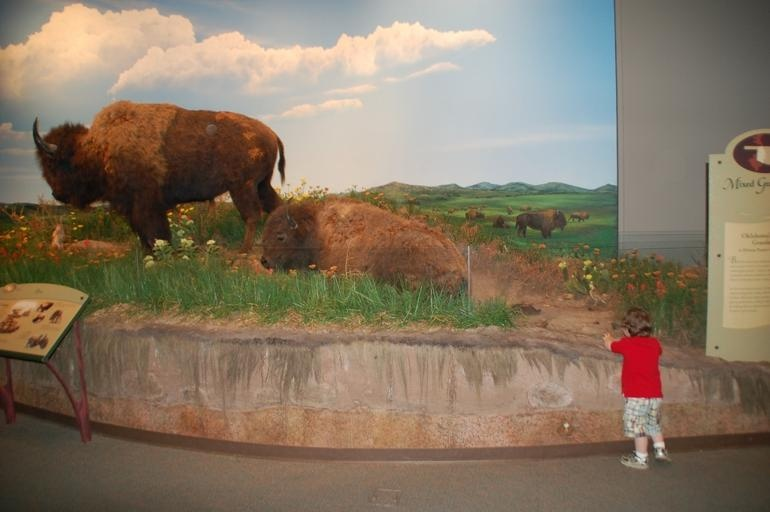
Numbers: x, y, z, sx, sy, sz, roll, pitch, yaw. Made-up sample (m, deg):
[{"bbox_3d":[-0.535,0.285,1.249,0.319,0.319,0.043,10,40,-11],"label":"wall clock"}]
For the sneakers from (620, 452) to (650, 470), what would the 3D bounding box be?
[{"bbox_3d":[2.578,2.077,6.763,0.286,0.147,0.124,6,14,24],"label":"sneakers"}]

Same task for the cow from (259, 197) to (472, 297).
[{"bbox_3d":[-0.210,-0.258,7.787,1.946,0.899,1.122,8,0,9],"label":"cow"}]

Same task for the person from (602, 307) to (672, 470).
[{"bbox_3d":[2.615,1.350,6.731,0.532,1.612,0.227,0,4,20],"label":"person"}]

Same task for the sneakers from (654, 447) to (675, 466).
[{"bbox_3d":[2.864,2.054,6.745,0.183,0.187,0.133,-11,-1,37],"label":"sneakers"}]
